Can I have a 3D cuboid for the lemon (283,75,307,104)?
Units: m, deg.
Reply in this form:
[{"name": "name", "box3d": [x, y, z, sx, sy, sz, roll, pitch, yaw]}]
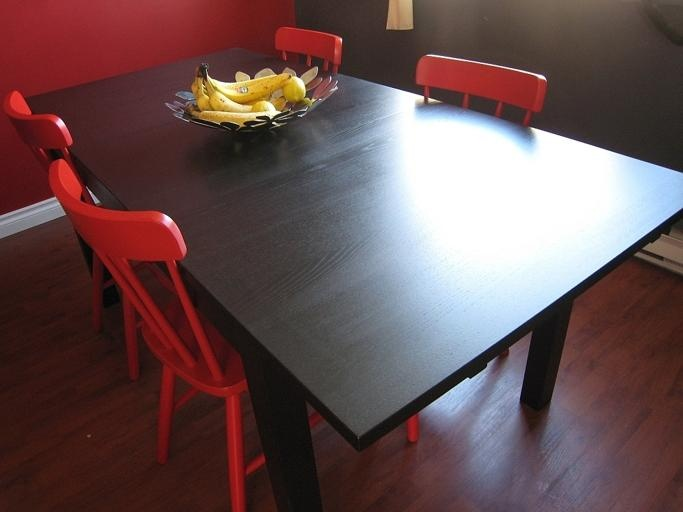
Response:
[{"name": "lemon", "box3d": [-0.158, -0.621, 1.988, 0.084, 0.109, 0.089, 2, 20, 14]}]
